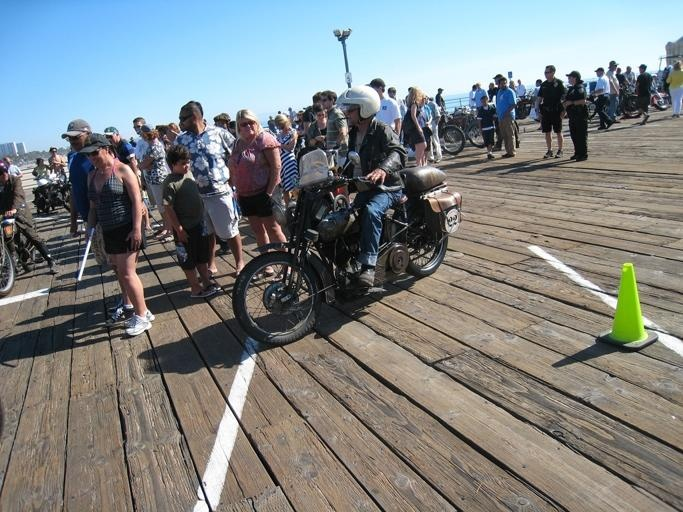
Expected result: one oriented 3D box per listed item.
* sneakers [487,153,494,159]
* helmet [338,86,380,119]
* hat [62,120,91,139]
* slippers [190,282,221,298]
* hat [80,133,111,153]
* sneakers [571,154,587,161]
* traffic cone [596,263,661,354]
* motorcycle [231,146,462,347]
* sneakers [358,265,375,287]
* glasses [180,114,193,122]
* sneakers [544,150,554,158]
[{"bbox_3d":[4.207,-2.825,11.216,0.130,0.153,0.264,-10,4,31],"label":"sneakers"},{"bbox_3d":[0.170,-1.603,4.191,0.484,0.418,0.393,-2,22,-6],"label":"helmet"},{"bbox_3d":[-3.010,-1.449,4.506,0.139,0.177,0.254,1,19,37],"label":"hat"},{"bbox_3d":[-1.673,0.426,4.948,0.372,0.126,0.204,-18,17,-22],"label":"slippers"},{"bbox_3d":[-2.484,-1.143,3.998,0.231,0.199,0.242,-11,15,-4],"label":"hat"},{"bbox_3d":[5.429,-2.283,9.160,0.371,0.162,0.143,0,19,-2],"label":"sneakers"},{"bbox_3d":[2.196,0.324,3.019,0.404,0.644,0.300,-18,17,-28],"label":"traffic cone"},{"bbox_3d":[0.179,-0.230,4.068,2.693,1.634,1.036,-19,23,-26],"label":"motorcycle"},{"bbox_3d":[0.240,0.190,3.764,0.083,0.264,0.191,-8,60,12],"label":"sneakers"},{"bbox_3d":[-1.894,-1.695,4.853,0.184,0.073,0.035,-6,15,17],"label":"glasses"},{"bbox_3d":[5.074,-2.494,9.753,0.103,0.130,0.284,2,18,36],"label":"sneakers"}]
